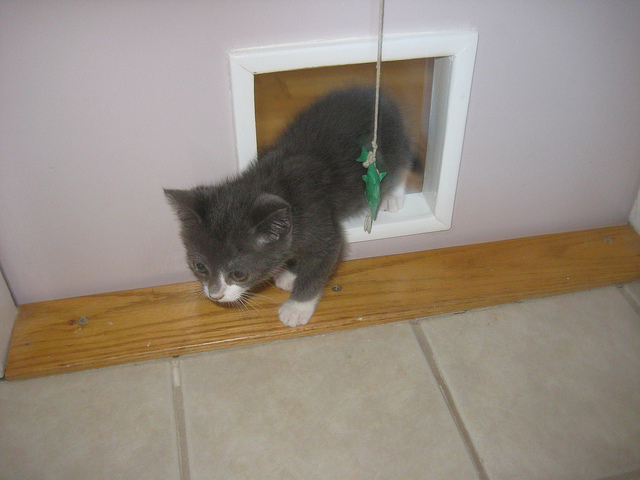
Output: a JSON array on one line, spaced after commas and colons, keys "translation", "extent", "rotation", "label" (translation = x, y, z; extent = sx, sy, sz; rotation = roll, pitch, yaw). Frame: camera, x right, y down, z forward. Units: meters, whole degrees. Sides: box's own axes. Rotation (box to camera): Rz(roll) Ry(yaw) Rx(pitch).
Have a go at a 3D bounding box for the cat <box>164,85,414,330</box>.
[{"translation": [-0.085, -0.091, 1.449], "extent": [0.581, 0.629, 0.272], "rotation": [-17, 33, -37], "label": "cat"}]
